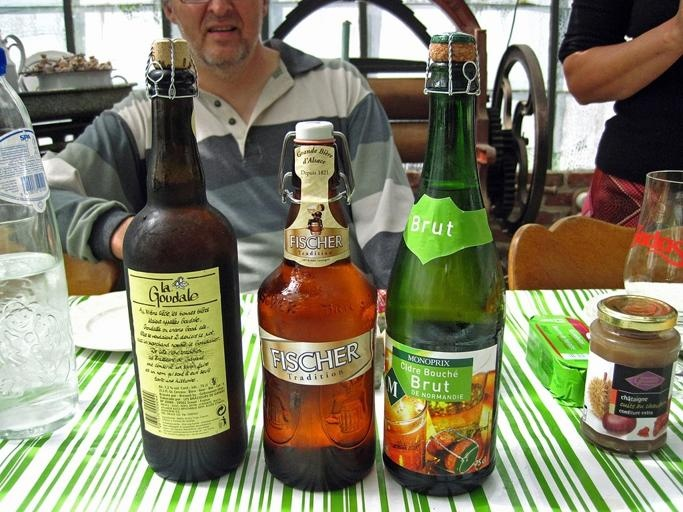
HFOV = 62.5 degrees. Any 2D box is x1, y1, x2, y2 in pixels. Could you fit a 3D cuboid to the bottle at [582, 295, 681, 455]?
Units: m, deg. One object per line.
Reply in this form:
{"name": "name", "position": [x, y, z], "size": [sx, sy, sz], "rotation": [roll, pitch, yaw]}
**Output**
{"name": "bottle", "position": [0.308, 0.122, 0.583], "size": [0.104, 0.155, 0.061], "rotation": [3, 20, 8]}

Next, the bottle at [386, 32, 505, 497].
{"name": "bottle", "position": [0.099, 0.016, 0.513], "size": [0.116, 0.413, 0.107], "rotation": [0, 19, 0]}

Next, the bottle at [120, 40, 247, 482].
{"name": "bottle", "position": [-0.142, 0.020, 0.505], "size": [0.097, 0.402, 0.074], "rotation": [-5, 20, -13]}

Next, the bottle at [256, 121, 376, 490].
{"name": "bottle", "position": [-0.020, 0.040, 0.548], "size": [0.111, 0.339, 0.154], "rotation": [1, 19, 3]}
